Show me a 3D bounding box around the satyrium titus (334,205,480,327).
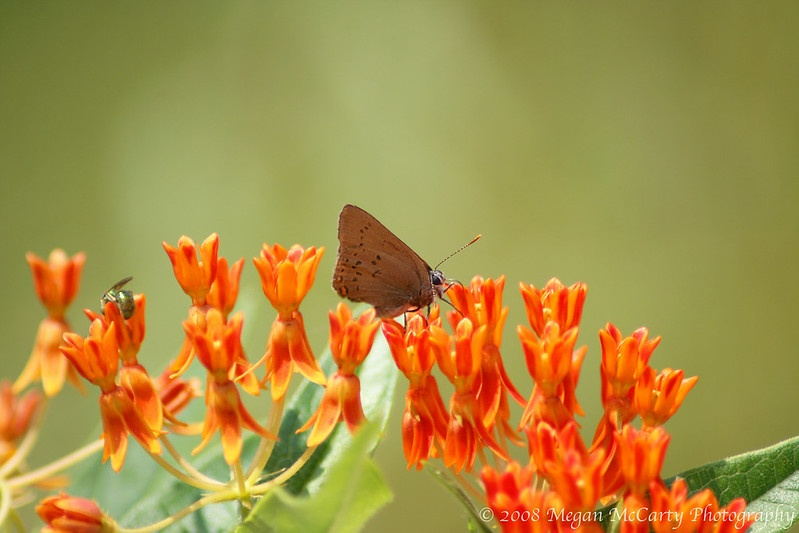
[{"bbox_3d":[0.010,0.014,1.642,0.239,0.221,0.210,0,-6,-8],"label":"satyrium titus"}]
